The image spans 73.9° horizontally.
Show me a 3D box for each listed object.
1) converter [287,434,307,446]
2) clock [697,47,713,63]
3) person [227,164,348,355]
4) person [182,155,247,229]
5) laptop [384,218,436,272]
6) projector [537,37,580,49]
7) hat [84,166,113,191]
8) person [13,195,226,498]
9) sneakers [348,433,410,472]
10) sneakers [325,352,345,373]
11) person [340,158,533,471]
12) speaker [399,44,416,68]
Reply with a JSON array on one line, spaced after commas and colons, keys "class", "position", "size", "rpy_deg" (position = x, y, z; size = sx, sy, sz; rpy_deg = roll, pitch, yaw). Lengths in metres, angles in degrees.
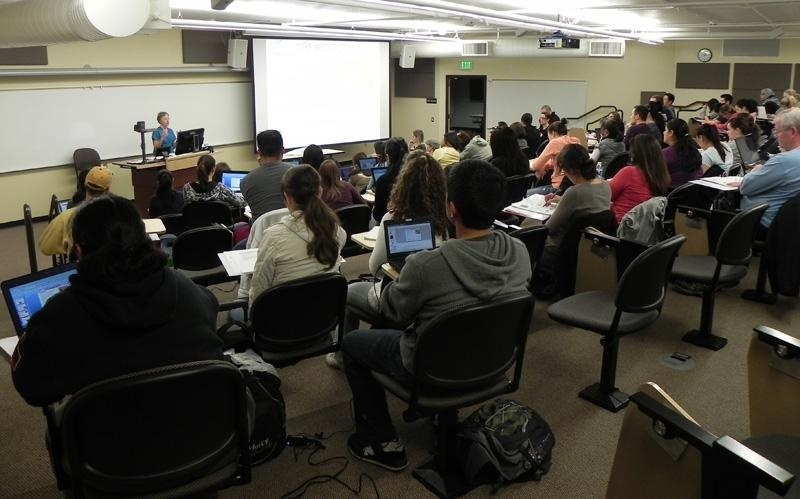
[{"class": "converter", "position": [-0.666, 1.216, 3.384], "size": [0.069, 0.019, 0.067], "rpy_deg": [0, 25, -2]}, {"class": "clock", "position": [7.785, -4.895, 13.478], "size": [0.341, 0.341, 0.108], "rpy_deg": [6, 20, 24]}, {"class": "person", "position": [-0.758, 0.060, 3.492], "size": [0.810, 1.109, 0.643], "rpy_deg": [-6, 18, -8]}, {"class": "person", "position": [-2.157, -0.676, 6.003], "size": [0.606, 0.784, 0.749], "rpy_deg": [1, 23, -3]}, {"class": "laptop", "position": [0.024, -0.084, 3.785], "size": [0.430, 0.413, 0.308], "rpy_deg": [-5, 3, -19]}, {"class": "projector", "position": [3.244, -4.166, 10.767], "size": [0.800, 0.220, 0.386], "rpy_deg": [0, 19, 9]}, {"class": "hat", "position": [-2.478, -0.595, 4.358], "size": [0.151, 0.133, 0.228], "rpy_deg": [5, 36, -20]}, {"class": "person", "position": [-1.307, 0.361, 2.436], "size": [0.887, 1.123, 0.419], "rpy_deg": [-10, 19, -20]}, {"class": "sneakers", "position": [-0.132, 1.234, 3.316], "size": [0.341, 0.153, 0.170], "rpy_deg": [20, 17, 15]}, {"class": "sneakers", "position": [-0.510, 0.820, 4.046], "size": [0.150, 0.069, 0.203], "rpy_deg": [-7, 28, -2]}, {"class": "person", "position": [0.201, 0.448, 3.001], "size": [1.091, 1.793, 0.534], "rpy_deg": [-7, 18, -10]}, {"class": "speaker", "position": [0.167, -4.896, 13.633], "size": [0.488, 0.743, 0.504], "rpy_deg": [0, 9, -5]}]
